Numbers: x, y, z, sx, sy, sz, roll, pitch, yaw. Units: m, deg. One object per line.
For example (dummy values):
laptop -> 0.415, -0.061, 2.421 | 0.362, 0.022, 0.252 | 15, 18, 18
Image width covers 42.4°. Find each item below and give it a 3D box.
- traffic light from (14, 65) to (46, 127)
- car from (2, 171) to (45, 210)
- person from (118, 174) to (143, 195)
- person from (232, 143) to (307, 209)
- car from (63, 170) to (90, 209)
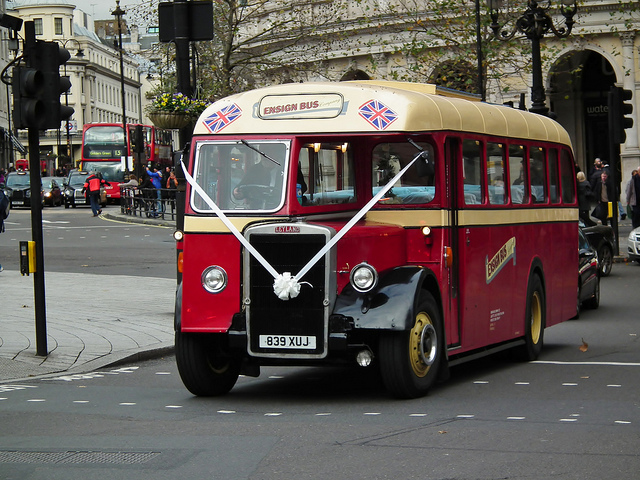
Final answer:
traffic light -> -3.518, -1.777, 10.111 | 0.371, 0.749, 0.235 | -1, 2, -12
car -> -19.361, -3.294, 53.447 | 1.431, 2.389, 4.804 | -1, 3, -22
person -> -9.690, -2.881, 42.660 | 1.289, 0.866, 0.955 | 4, 7, 19
person -> -0.545, -0.629, 8.229 | 0.525, 0.737, 0.745 | -4, 6, -14
car -> -16.129, -3.567, 57.155 | 2.241, 2.245, 4.335 | 2, 9, -10
